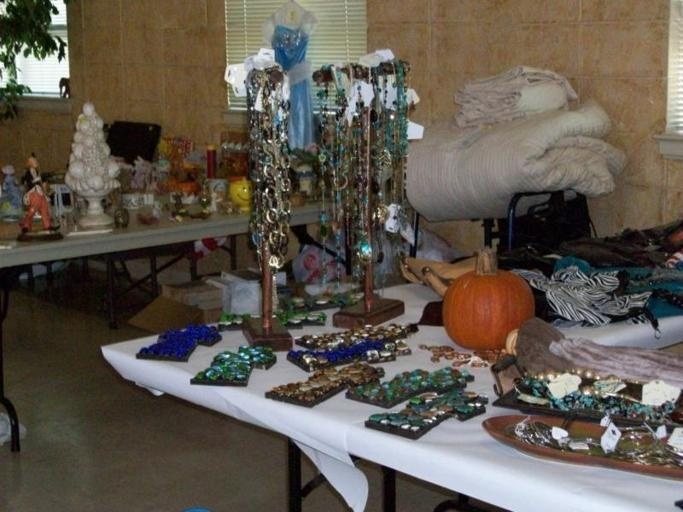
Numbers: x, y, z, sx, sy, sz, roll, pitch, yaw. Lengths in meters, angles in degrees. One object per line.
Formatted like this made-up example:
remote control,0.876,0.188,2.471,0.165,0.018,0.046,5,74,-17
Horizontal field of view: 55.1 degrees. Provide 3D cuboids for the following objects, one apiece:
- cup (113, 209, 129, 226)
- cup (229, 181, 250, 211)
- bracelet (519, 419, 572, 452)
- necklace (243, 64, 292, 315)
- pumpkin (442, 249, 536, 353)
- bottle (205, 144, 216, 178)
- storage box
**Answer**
cup,-1.222,-0.215,3.684,0.087,0.105,0.088,-1,11,0
cup,-0.628,-0.369,4.045,0.142,0.165,0.134,0,15,0
bracelet,0.410,0.364,1.339,0.051,0.024,0.072,-6,16,-33
necklace,-0.199,-0.172,1.858,0.118,0.704,0.170,-2,13,-5
pumpkin,0.404,0.088,1.926,0.269,0.283,0.271,-6,14,-31
bottle,-0.894,-0.651,4.500,0.079,0.218,0.287,-4,14,-11
storage box,-1.090,0.355,4.453,0.544,0.133,0.491,1,14,28
